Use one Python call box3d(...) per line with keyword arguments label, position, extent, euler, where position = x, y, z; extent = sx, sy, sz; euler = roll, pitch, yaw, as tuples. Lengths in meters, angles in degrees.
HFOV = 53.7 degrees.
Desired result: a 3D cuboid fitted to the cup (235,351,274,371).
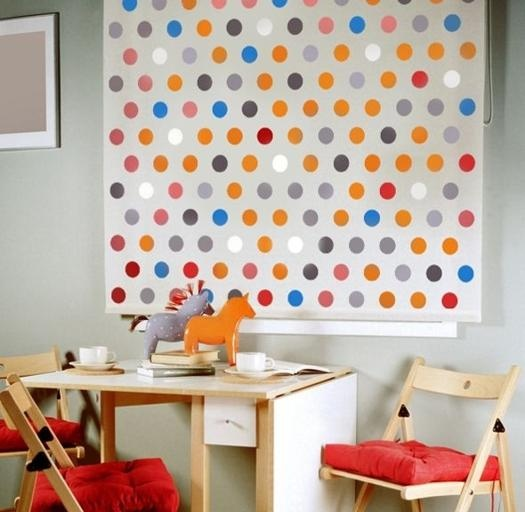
box3d(label="cup", position=(-0.020, 0.330, 1.693), extent=(0.092, 0.052, 0.073), euler=(3, -6, 5))
